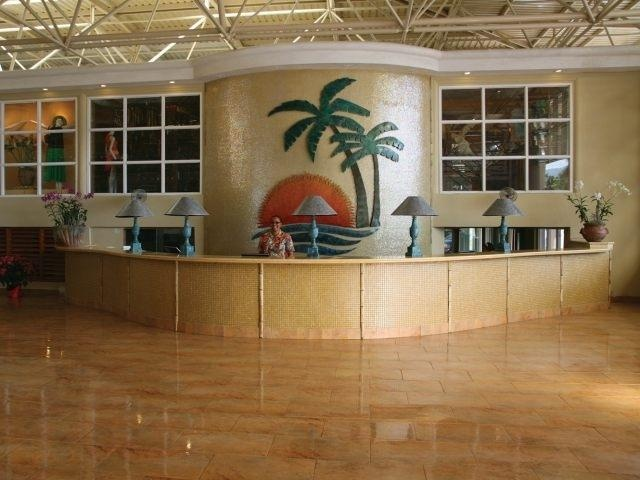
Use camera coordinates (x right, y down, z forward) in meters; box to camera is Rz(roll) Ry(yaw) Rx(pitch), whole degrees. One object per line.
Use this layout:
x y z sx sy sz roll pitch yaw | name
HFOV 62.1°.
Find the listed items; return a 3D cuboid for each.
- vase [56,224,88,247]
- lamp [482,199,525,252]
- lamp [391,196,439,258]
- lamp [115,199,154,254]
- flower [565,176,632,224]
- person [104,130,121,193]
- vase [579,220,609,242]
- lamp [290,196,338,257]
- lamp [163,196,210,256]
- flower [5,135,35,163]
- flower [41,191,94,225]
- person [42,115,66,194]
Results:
-4.874 -0.101 10.427 0.592 0.296 0.536 0 -3 -34 | vase
3.067 -0.333 8.980 0.539 0.839 1.966 2 7 16 | lamp
1.333 -0.206 7.640 0.523 0.838 0.409 -7 11 -34 | lamp
-2.910 -0.294 8.472 0.771 0.906 0.626 3 -1 -10 | lamp
5.281 -0.694 9.894 1.225 0.630 0.815 -1 0 -19 | flower
-4.421 -1.685 11.359 0.341 1.307 0.215 0 10 3 | person
4.778 -0.150 9.271 0.462 0.230 0.405 0 -1 19 | vase
-0.092 -0.232 7.998 0.565 0.881 1.454 -1 7 -2 | lamp
-1.997 -0.220 7.880 0.498 0.837 0.588 -4 10 -24 | lamp
-6.628 -2.043 11.783 0.891 0.572 0.178 3 3 11 | flower
-5.128 -0.637 10.874 0.896 0.704 1.625 -4 8 -24 | flower
-5.788 -1.917 11.633 0.546 1.609 0.241 2 10 15 | person
